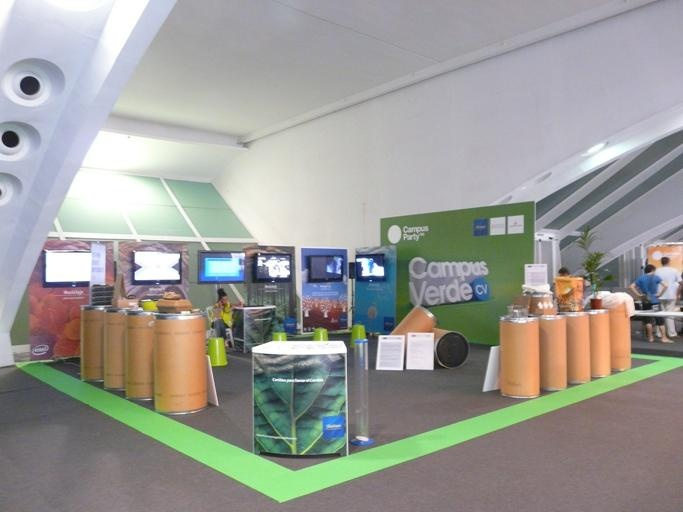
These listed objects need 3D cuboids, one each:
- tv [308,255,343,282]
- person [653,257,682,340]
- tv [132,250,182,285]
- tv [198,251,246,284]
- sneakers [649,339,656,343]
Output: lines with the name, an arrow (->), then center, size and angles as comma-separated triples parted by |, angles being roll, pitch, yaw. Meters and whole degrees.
tv -> -0.442, 0.286, 12.102 | 0.668, 0.460, 0.088 | 1, 1, -25
person -> 7.323, 0.879, 11.084 | 0.439, 1.747, 1.047 | 1, 3, 34
tv -> -4.418, 0.240, 11.667 | 0.839, 0.590, 0.083 | 1, 2, -28
tv -> -2.876, 0.251, 11.749 | 0.793, 0.543, 0.103 | 1, -1, -19
sneakers -> 6.618, 1.792, 10.557 | 0.067, 0.083, 0.199 | -8, -13, 30
